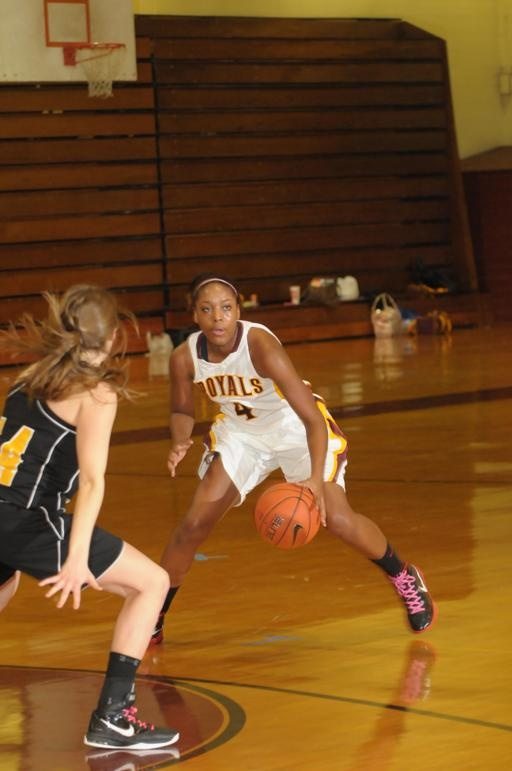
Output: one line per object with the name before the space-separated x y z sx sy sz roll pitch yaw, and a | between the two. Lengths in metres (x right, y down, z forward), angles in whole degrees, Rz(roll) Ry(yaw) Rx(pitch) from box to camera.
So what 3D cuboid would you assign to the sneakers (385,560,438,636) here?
sneakers | 0.389 0.524 1.668 0.082 0.061 0.178 29 28 -27
